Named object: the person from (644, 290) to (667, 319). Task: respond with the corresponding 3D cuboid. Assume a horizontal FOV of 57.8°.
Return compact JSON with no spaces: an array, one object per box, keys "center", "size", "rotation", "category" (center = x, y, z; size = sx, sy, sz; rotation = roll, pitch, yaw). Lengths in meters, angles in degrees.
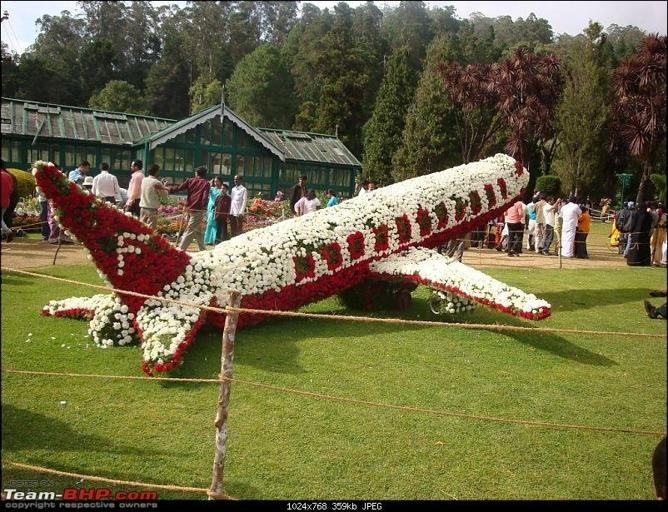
[{"center":[6.138,0.930,11.502],"size":[0.248,0.382,0.881],"rotation":[-2,35,25],"category":"person"}]
